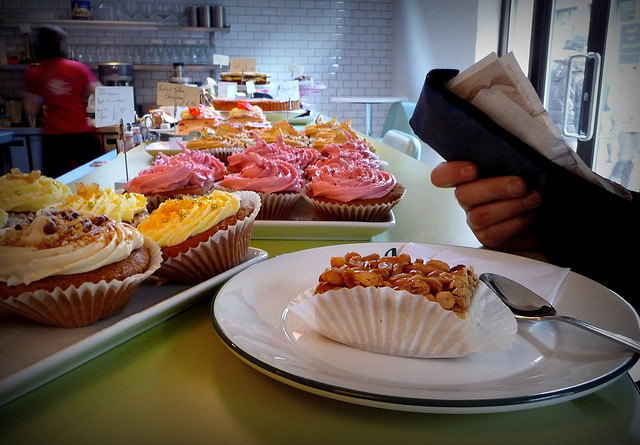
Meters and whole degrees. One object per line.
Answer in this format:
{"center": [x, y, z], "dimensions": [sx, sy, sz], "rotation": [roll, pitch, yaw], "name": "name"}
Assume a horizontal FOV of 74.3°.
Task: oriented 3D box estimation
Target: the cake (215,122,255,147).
{"center": [-0.420, -0.434, 2.123], "dimensions": [0.200, 0.089, 0.244], "rotation": [11, 9, 13], "name": "cake"}

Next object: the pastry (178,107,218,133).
{"center": [-0.778, -0.649, 2.645], "dimensions": [0.221, 0.137, 0.205], "rotation": [0, 19, -5], "name": "pastry"}

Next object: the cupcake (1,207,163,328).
{"center": [-0.470, 0.085, 0.849], "dimensions": [0.281, 0.203, 0.154], "rotation": [-7, 18, -22], "name": "cupcake"}

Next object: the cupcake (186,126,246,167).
{"center": [-0.490, -0.355, 1.951], "dimensions": [0.250, 0.169, 0.208], "rotation": [3, 7, -20], "name": "cupcake"}

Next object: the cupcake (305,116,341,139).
{"center": [0.012, -0.536, 2.394], "dimensions": [0.159, 0.055, 0.135], "rotation": [-27, 24, -14], "name": "cupcake"}

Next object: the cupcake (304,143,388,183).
{"center": [0.091, -0.244, 1.634], "dimensions": [0.243, 0.085, 0.206], "rotation": [-1, 13, -1], "name": "cupcake"}

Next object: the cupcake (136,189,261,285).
{"center": [-0.284, -0.016, 1.070], "dimensions": [0.265, 0.223, 0.260], "rotation": [15, 17, 39], "name": "cupcake"}

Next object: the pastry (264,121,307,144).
{"center": [-0.169, -0.477, 2.216], "dimensions": [0.168, 0.060, 0.179], "rotation": [1, 13, 10], "name": "pastry"}

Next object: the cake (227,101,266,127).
{"center": [-0.494, -0.700, 2.925], "dimensions": [0.284, 0.168, 0.283], "rotation": [-3, 15, -15], "name": "cake"}

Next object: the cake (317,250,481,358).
{"center": [0.154, 0.135, 0.795], "dimensions": [0.288, 0.120, 0.227], "rotation": [5, 17, 17], "name": "cake"}

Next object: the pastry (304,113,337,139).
{"center": [-0.017, -0.571, 2.506], "dimensions": [0.209, 0.111, 0.263], "rotation": [-13, 31, -22], "name": "pastry"}

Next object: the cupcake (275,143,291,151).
{"center": [-0.159, -0.314, 1.764], "dimensions": [0.080, 0.034, 0.105], "rotation": [0, 6, 0], "name": "cupcake"}

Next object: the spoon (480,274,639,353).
{"center": [0.415, 0.145, 0.764], "dimensions": [0.064, 0.036, 0.263], "rotation": [19, 4, -28], "name": "spoon"}

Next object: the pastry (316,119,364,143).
{"center": [0.098, -0.454, 2.147], "dimensions": [0.208, 0.064, 0.172], "rotation": [-10, 31, -21], "name": "pastry"}

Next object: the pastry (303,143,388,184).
{"center": [0.114, -0.257, 1.669], "dimensions": [0.331, 0.196, 0.294], "rotation": [1, 14, 9], "name": "pastry"}
